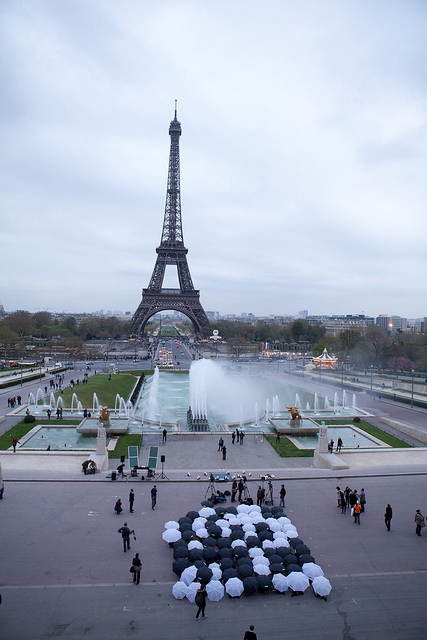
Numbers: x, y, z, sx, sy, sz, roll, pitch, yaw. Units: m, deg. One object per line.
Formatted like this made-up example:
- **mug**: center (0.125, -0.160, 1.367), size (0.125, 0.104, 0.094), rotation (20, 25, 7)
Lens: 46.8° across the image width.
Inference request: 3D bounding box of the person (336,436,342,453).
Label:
- **person**: center (7.245, 7.085, 28.413), size (0.188, 0.608, 0.822), rotation (1, 0, 13)

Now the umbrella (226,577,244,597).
- **umbrella**: center (0.563, 6.976, 12.976), size (0.406, 0.407, 0.280), rotation (-22, -19, -16)

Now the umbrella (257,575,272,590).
- **umbrella**: center (1.382, 7.107, 13.438), size (0.431, 0.422, 0.302), rotation (1, 0, -9)

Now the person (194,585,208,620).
- **person**: center (-0.312, 7.023, 12.429), size (0.308, 0.751, 0.421), rotation (1, 1, -1)

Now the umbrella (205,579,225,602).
- **umbrella**: center (0.028, 7.050, 12.928), size (0.439, 0.397, 0.517), rotation (1, 0, 9)

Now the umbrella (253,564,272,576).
- **umbrella**: center (1.332, 6.780, 13.517), size (0.280, 0.145, 0.286), rotation (5, 6, 26)

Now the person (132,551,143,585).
- **person**: center (-2.140, 6.789, 13.777), size (0.237, 0.916, 0.792), rotation (1, 0, -10)

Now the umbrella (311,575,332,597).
- **umbrella**: center (2.844, 6.941, 12.996), size (0.451, 0.471, 0.409), rotation (-9, -28, 0)

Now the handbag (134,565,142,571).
- **handbag**: center (-2.111, 6.850, 13.744), size (0.164, 0.089, 0.238), rotation (3, -3, -7)

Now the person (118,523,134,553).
- **person**: center (-2.753, 6.691, 15.648), size (0.348, 0.966, 1.191), rotation (1, 0, -6)

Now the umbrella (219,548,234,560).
- **umbrella**: center (0.388, 6.798, 14.386), size (0.426, 0.242, 0.458), rotation (1, 0, 0)

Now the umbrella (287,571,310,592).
- **umbrella**: center (2.275, 6.846, 13.088), size (0.476, 0.491, 0.466), rotation (-11, -41, -13)
